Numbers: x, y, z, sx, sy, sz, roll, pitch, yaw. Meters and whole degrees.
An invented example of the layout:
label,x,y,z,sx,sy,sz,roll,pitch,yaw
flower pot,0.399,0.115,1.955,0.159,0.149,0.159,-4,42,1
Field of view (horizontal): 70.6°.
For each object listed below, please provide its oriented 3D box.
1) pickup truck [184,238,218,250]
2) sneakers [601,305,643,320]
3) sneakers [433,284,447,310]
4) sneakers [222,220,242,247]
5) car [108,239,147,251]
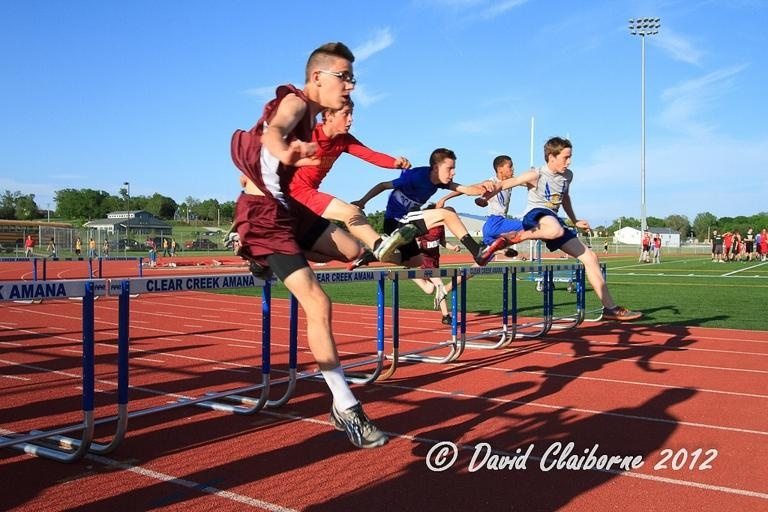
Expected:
label,x,y,z,sx,sy,sz,roll,pitch,yaw
pickup truck,-17.337,-1.014,51.689,1.911,1.091,3.592,-1,1,9
sneakers,2.727,0.680,6.415,0.568,0.204,0.206,-1,0,18
sneakers,0.858,0.656,8.251,0.209,0.444,0.160,2,14,6
sneakers,-1.126,-0.149,4.011,0.159,0.194,0.462,7,-9,-13
car,-22.871,-0.877,48.736,3.241,0.998,1.393,0,4,-26
